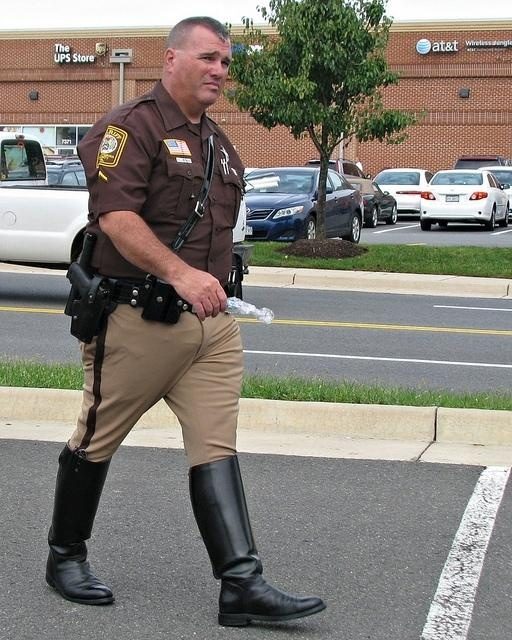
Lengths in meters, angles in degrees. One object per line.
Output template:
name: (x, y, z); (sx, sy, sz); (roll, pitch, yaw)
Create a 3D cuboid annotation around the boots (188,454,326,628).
boots: (0.015, 0.620, 2.047); (0.392, 0.409, 0.144); (-2, -15, 9)

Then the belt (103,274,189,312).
belt: (-0.305, -0.072, 2.043); (0.230, 0.084, 0.073); (3, 4, 22)

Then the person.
person: (-0.248, 0.005, 2.200); (0.671, 1.699, 1.045); (2, -1, -32)

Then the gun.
gun: (-0.508, -0.056, 2.084); (0.169, 0.193, 0.058); (25, -17, -36)
